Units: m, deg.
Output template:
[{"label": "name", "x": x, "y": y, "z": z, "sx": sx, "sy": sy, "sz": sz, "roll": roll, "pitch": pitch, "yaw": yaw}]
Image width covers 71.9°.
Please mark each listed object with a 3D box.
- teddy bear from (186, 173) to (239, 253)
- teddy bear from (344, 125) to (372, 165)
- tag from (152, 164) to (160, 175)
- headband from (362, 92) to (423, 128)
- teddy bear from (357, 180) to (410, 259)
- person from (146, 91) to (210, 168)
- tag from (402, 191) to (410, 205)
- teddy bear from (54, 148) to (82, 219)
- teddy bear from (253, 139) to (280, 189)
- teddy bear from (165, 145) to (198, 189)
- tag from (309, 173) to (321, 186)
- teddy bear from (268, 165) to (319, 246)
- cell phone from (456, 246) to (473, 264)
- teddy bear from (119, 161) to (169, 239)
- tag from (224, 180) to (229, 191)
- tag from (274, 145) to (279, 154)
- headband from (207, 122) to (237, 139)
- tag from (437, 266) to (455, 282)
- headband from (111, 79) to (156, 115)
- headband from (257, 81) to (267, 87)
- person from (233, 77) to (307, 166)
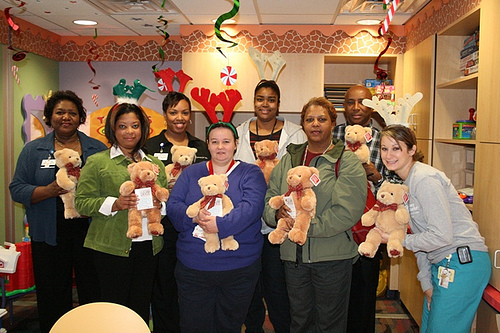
[{"label": "teddy bear", "x": -0.297, "y": 0.354, "z": 2.653, "sx": 0.422, "sy": 0.571, "sz": 0.252, "roll": -2, "pitch": -5, "yaw": 3}, {"label": "teddy bear", "x": 0.964, "y": -0.195, "z": 3.133, "sx": 0.232, "sy": 0.365, "sz": 0.273, "roll": -14, "pitch": 22, "yaw": -38}, {"label": "tag", "x": -0.771, "y": 0.022, "z": 2.819, "sx": 0.018, "sy": 0.071, "sz": 0.063, "roll": -19, "pitch": -20, "yaw": 35}, {"label": "headband", "x": 1.270, "y": -0.509, "z": 3.124, "sx": 0.463, "sy": 0.278, "sz": 0.138, "roll": 5, "pitch": 6, "yaw": 35}, {"label": "teddy bear", "x": 1.057, "y": 0.406, "z": 2.700, "sx": 0.475, "sy": 0.530, "sz": 0.415, "roll": -13, "pitch": 5, "yaw": -38}, {"label": "person", "x": -0.733, "y": -0.240, "z": 3.496, "sx": 0.743, "sy": 0.969, "sz": 0.605, "roll": 4, "pitch": 10, "yaw": -15}, {"label": "tag", "x": 1.193, "y": 0.239, "z": 2.652, "sx": 0.089, "sy": 0.079, "sz": 0.007, "roll": -30, "pitch": 26, "yaw": -30}, {"label": "teddy bear", "x": -1.626, "y": 0.152, "z": 3.063, "sx": 0.229, "sy": 0.610, "sz": 0.208, "roll": 0, "pitch": 5, "yaw": -16}, {"label": "teddy bear", "x": 0.151, "y": -0.033, "z": 3.162, "sx": 0.278, "sy": 0.410, "sz": 0.303, "roll": -2, "pitch": 0, "yaw": -45}, {"label": "teddy bear", "x": -0.627, "y": 0.029, "z": 3.154, "sx": 0.290, "sy": 0.394, "sz": 0.266, "roll": -2, "pitch": -22, "yaw": 42}, {"label": "tag", "x": 0.497, "y": 0.102, "z": 2.651, "sx": 0.072, "sy": 0.073, "sz": 0.024, "roll": -43, "pitch": 4, "yaw": -5}, {"label": "teddy bear", "x": 0.326, "y": 0.316, "z": 2.703, "sx": 0.393, "sy": 0.639, "sz": 0.282, "roll": 2, "pitch": 5, "yaw": 10}, {"label": "cell phone", "x": 1.598, "y": 0.660, "z": 2.581, "sx": 0.105, "sy": 0.127, "sz": 0.045, "roll": 4, "pitch": 6, "yaw": 31}, {"label": "teddy bear", "x": -0.846, "y": 0.272, "z": 2.770, "sx": 0.353, "sy": 0.609, "sz": 0.252, "roll": 2, "pitch": 5, "yaw": 7}, {"label": "tag", "x": -0.183, "y": 0.145, "z": 2.666, "sx": 0.009, "sy": 0.048, "sz": 0.053, "roll": -7, "pitch": -11, "yaw": 30}, {"label": "tag", "x": 0.248, "y": -0.156, "z": 3.210, "sx": 0.017, "sy": 0.052, "sz": 0.040, "roll": -11, "pitch": 10, "yaw": 21}, {"label": "headband", "x": -0.229, "y": -0.294, "z": 2.806, "sx": 0.243, "sy": 0.133, "sz": 0.127, "roll": 1, "pitch": 5, "yaw": -9}, {"label": "tag", "x": 1.489, "y": 0.816, "z": 2.614, "sx": 0.014, "sy": 0.125, "sz": 0.140, "roll": 13, "pitch": -3, "yaw": -38}, {"label": "headband", "x": -1.254, "y": -0.801, "z": 3.647, "sx": 0.480, "sy": 0.219, "sz": 0.245, "roll": -8, "pitch": -3, "yaw": -16}, {"label": "headband", "x": 0.127, "y": -0.855, "z": 3.565, "sx": 0.086, "sy": 0.071, "sz": 0.121, "roll": 3, "pitch": 5, "yaw": 18}, {"label": "person", "x": 0.199, "y": -0.403, "z": 3.624, "sx": 1.044, "sy": 0.921, "sz": 0.532, "roll": 0, "pitch": 6, "yaw": 4}]
